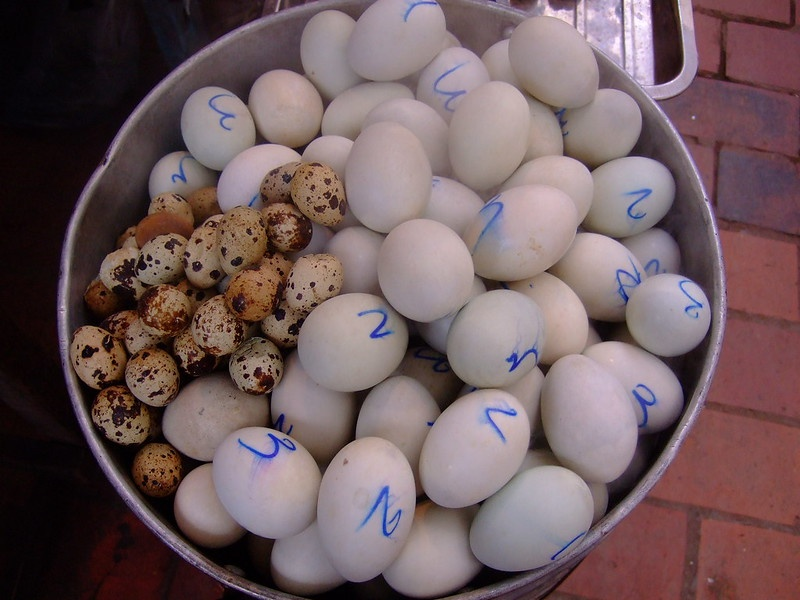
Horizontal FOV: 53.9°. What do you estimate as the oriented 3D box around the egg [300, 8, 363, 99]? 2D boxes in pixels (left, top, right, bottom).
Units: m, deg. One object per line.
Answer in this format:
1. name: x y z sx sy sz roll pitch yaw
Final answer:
1. egg: -0.130 -0.473 1.517 0.094 0.151 0.104 12 21 15
